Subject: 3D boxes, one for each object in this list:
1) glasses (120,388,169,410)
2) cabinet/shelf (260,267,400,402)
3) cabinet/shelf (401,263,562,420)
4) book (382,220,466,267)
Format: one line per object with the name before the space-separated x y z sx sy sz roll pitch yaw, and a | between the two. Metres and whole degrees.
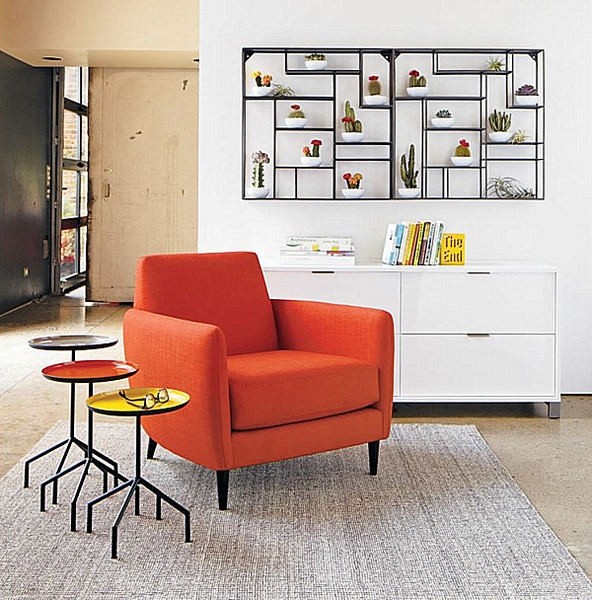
glasses | -0.421 0.269 1.695 0.076 0.026 0.066 3 3 34
cabinet/shelf | 0.244 0.203 3.369 0.837 0.834 0.475 -3 7 -7
cabinet/shelf | 0.974 0.178 3.345 0.841 0.842 0.476 -1 14 12
book | 0.680 -0.293 3.186 0.414 0.229 0.126 3 5 11
